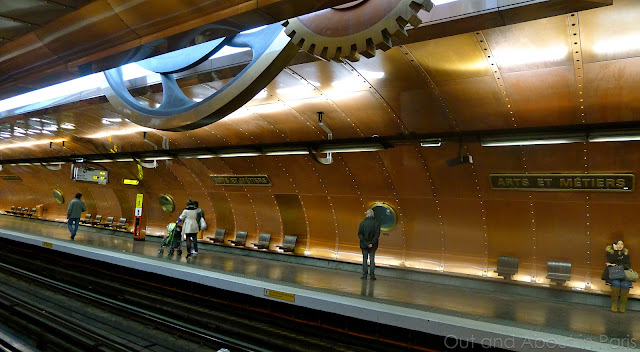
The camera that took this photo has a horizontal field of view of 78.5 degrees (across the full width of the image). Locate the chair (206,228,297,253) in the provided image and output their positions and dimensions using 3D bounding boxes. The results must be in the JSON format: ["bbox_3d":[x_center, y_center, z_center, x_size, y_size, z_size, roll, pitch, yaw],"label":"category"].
[{"bbox_3d":[-3.140,3.098,18.906,4.479,0.843,0.727,-1,-14,33],"label":"chair"}]

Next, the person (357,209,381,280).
[{"bbox_3d":[1.752,2.462,14.133,0.746,2.487,1.041,6,-13,9],"label":"person"}]

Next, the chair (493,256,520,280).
[{"bbox_3d":[6.811,3.245,14.390,0.882,0.705,1.047,7,5,24],"label":"chair"}]

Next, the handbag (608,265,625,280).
[{"bbox_3d":[9.027,2.919,11.876,0.496,0.396,0.183,-3,-12,22],"label":"handbag"}]
